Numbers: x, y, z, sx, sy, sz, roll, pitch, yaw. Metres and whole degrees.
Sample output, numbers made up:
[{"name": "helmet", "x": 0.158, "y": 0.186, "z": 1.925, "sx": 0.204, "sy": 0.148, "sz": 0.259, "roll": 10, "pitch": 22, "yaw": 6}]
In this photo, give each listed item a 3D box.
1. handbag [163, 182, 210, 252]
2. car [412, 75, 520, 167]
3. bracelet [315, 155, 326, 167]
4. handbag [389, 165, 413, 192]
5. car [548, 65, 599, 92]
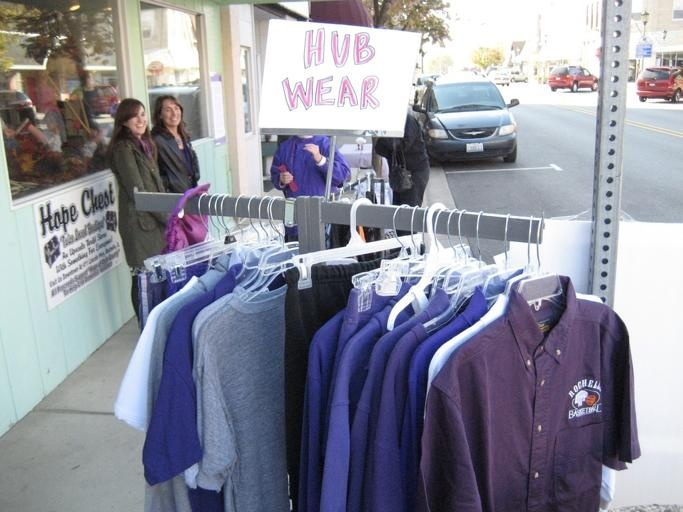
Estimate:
[{"name": "handbag", "x": -0.750, "y": -0.269, "z": 2.784, "sx": 0.084, "sy": 0.184, "sz": 0.392, "roll": -11, "pitch": 18, "yaw": 15}, {"name": "car", "x": 2.800, "y": -2.982, "z": 12.792, "sx": 2.401, "sy": 2.000, "sz": 1.825, "roll": -11, "pitch": 21, "yaw": -30}, {"name": "bracelet", "x": -0.183, "y": -0.832, "z": 4.858, "sx": 0.034, "sy": 0.097, "sz": 0.066, "roll": 10, "pitch": 9, "yaw": 31}, {"name": "handbag", "x": 0.734, "y": -0.943, "z": 6.744, "sx": 0.280, "sy": 0.324, "sz": 0.147, "roll": 2, "pitch": 17, "yaw": 6}, {"name": "car", "x": 14.521, "y": -11.065, "z": 34.621, "sx": 2.101, "sy": 1.634, "sz": 5.700, "roll": 2, "pitch": 19, "yaw": 7}]
